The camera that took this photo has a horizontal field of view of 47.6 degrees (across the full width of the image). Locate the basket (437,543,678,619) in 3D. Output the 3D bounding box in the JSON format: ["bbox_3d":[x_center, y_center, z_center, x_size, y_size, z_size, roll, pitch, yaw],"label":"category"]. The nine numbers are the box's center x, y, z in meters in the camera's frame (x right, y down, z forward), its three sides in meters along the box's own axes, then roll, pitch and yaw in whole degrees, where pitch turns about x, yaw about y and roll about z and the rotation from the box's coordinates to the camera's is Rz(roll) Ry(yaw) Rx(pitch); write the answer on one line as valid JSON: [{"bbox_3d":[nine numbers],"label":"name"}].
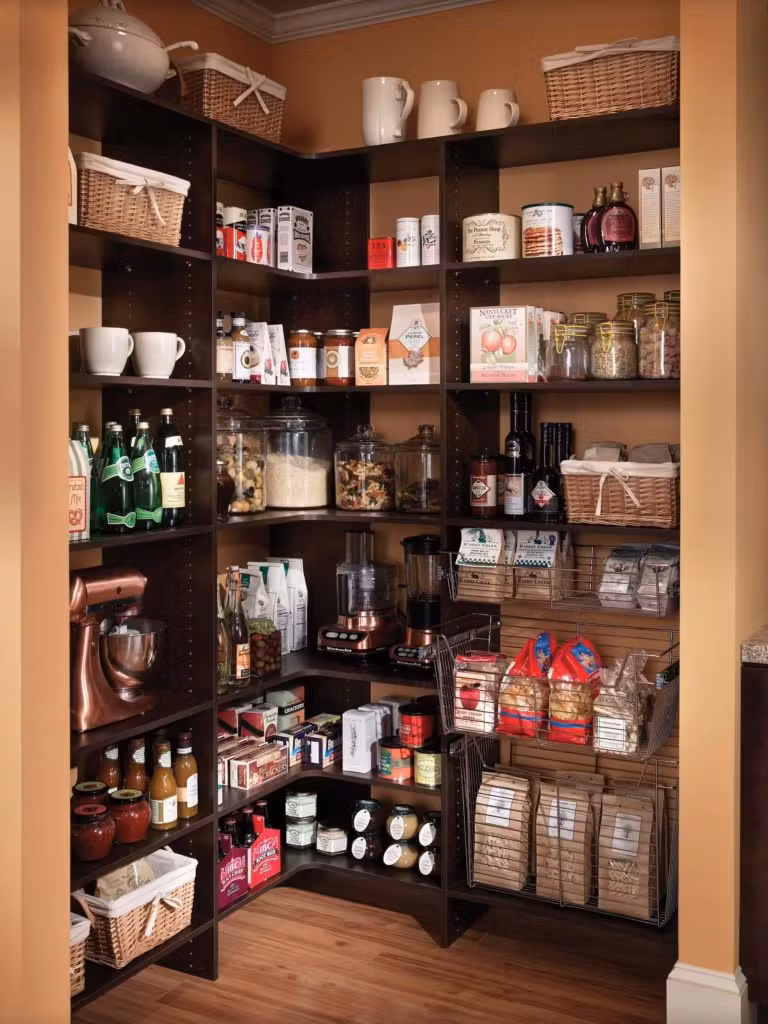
[{"bbox_3d":[0.477,0.174,2.272,0.599,0.157,0.233,-2,-2,33],"label":"basket"}]

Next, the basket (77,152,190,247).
[{"bbox_3d":[-0.579,-0.680,1.965,0.238,0.146,0.165,-1,-5,-41],"label":"basket"}]

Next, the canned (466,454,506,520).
[{"bbox_3d":[0.273,-0.066,2.353,0.142,0.243,0.141,0,-2,7],"label":"canned"}]

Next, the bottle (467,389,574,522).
[{"bbox_3d":[0.375,-0.150,2.345,0.259,0.358,0.298,0,-2,-12],"label":"bottle"}]

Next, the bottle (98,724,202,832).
[{"bbox_3d":[-0.539,0.654,2.152,0.237,0.276,0.165,2,-6,-44],"label":"bottle"}]

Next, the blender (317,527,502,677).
[{"bbox_3d":[0.096,0.271,2.644,0.398,0.358,0.524,-1,-1,37],"label":"blender"}]

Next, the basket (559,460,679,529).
[{"bbox_3d":[0.607,-0.059,2.118,0.288,0.175,0.206,1,15,42],"label":"basket"}]

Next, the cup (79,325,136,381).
[{"bbox_3d":[-0.599,-0.340,1.860,0.122,0.093,0.098,1,2,-8],"label":"cup"}]

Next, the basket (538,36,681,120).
[{"bbox_3d":[0.544,-0.999,2.091,0.273,0.134,0.221,1,11,29],"label":"basket"}]

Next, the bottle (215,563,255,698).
[{"bbox_3d":[-0.421,0.310,2.319,0.071,0.317,0.161,-1,-2,19],"label":"bottle"}]

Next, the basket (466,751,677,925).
[{"bbox_3d":[0.481,0.826,2.296,0.558,0.352,0.358,-1,-2,21],"label":"basket"}]

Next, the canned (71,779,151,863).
[{"bbox_3d":[-0.620,0.690,1.925,0.121,0.090,0.159,0,-6,-4],"label":"canned"}]

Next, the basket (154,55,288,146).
[{"bbox_3d":[-0.425,-1.143,2.414,0.189,0.140,0.286,23,17,36],"label":"basket"}]

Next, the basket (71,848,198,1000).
[{"bbox_3d":[-0.577,0.952,2.047,0.209,0.184,0.276,-4,0,30],"label":"basket"}]

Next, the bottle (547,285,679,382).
[{"bbox_3d":[0.560,-0.412,2.072,0.313,0.189,0.198,1,4,19],"label":"bottle"}]

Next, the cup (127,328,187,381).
[{"bbox_3d":[-0.536,-0.365,2.043,0.133,0.101,0.106,1,0,-12],"label":"cup"}]

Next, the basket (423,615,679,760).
[{"bbox_3d":[0.444,0.442,2.247,0.608,0.413,0.593,-1,-2,18],"label":"basket"}]

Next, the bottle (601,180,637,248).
[{"bbox_3d":[0.581,-0.724,2.162,0.110,0.186,0.098,1,2,14],"label":"bottle"}]
